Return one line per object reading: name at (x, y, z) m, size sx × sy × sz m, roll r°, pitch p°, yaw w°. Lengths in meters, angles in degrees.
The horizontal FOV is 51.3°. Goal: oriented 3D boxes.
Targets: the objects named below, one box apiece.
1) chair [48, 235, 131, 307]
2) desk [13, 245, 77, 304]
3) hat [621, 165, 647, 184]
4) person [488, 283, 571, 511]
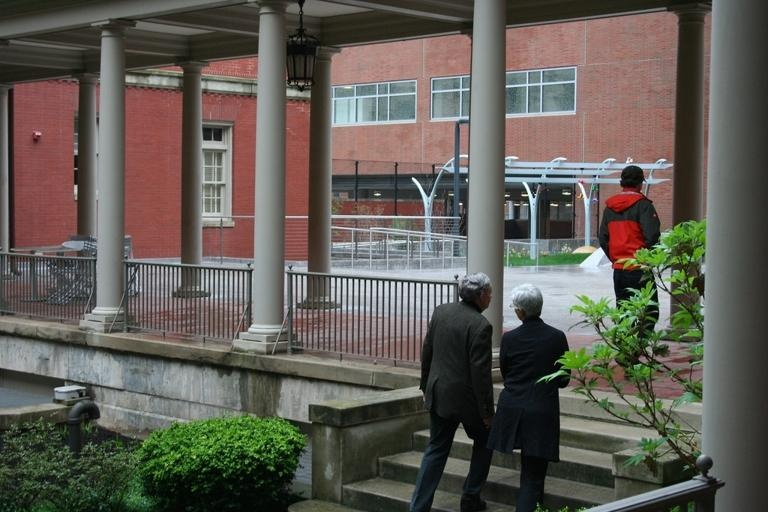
chair at (-5.613, 0.381, 14.513) m, size 2.022 × 1.354 × 0.647 m, roll 1°, pitch 4°, yaw 20°
desk at (-6.082, 0.365, 14.278) m, size 1.069 × 0.710 × 0.677 m, roll -2°, pitch -2°, yaw 39°
hat at (2.839, -0.917, 9.112) m, size 0.202 × 0.159 × 0.283 m, roll 3°, pitch 25°, yaw 21°
person at (1.226, 1.242, 6.829) m, size 0.672 × 1.633 × 0.456 m, roll -1°, pitch 0°, yaw 14°
